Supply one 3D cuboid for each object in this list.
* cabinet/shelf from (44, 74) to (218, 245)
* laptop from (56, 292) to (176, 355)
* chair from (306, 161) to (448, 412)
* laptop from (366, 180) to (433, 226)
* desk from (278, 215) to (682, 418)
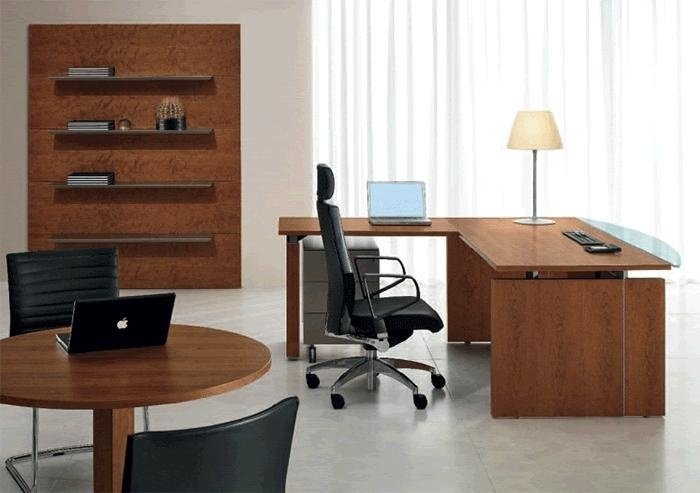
[{"bbox_3d":[-2.396,-0.999,7.016,2.079,1.619,0.561,0,2,-2],"label":"cabinet/shelf"},{"bbox_3d":[-0.982,0.325,2.825,0.370,0.196,0.332,1,3,-28],"label":"laptop"},{"bbox_3d":[0.194,0.273,4.445,0.958,1.405,0.825,2,1,1],"label":"chair"},{"bbox_3d":[0.379,-0.328,5.045,0.479,0.264,0.353,-1,15,-10],"label":"laptop"},{"bbox_3d":[0.922,0.469,4.347,1.934,0.716,1.804,0,6,-2],"label":"desk"}]
